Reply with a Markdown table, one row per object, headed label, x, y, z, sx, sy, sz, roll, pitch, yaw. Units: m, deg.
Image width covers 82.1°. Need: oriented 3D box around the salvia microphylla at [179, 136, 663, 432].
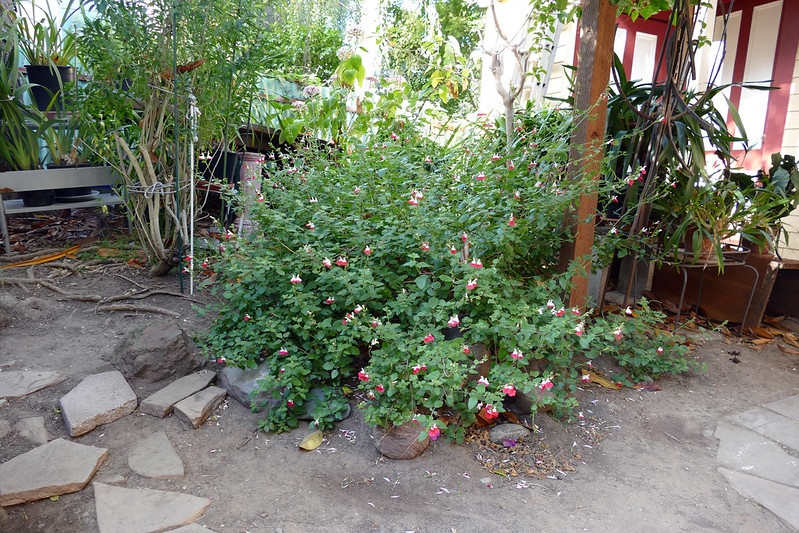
| label | x | y | z | sx | sy | sz | roll | pitch | yaw |
| --- | --- | --- | --- | --- | --- | --- | --- | --- | --- |
| salvia microphylla | 0.049 | 0.215 | 3.827 | 2.489 | 2.071 | 1.663 | -2 | -15 | 5 |
